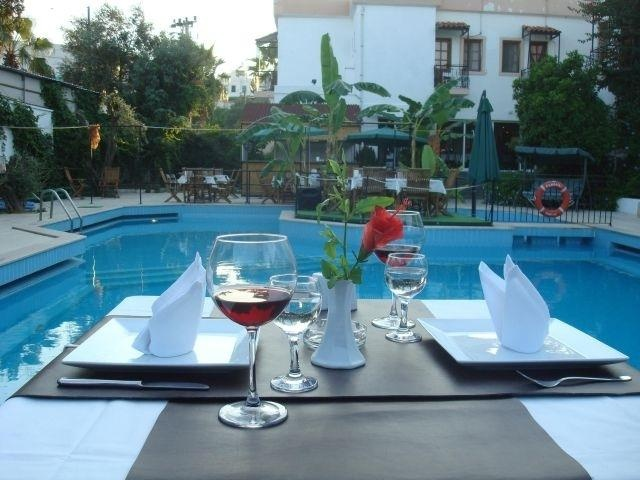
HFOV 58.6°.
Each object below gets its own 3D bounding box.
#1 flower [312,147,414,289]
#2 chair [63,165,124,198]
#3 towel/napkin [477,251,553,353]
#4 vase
[{"bbox_3d":[0.082,0.022,1.438,0.191,0.353,0.193,3,-18,8],"label":"flower"},{"bbox_3d":[-6.089,-1.569,15.320,1.192,0.872,0.703,-2,6,-5],"label":"chair"},{"bbox_3d":[0.506,0.183,1.583,0.230,0.262,0.206,-1,-1,3],"label":"towel/napkin"},{"bbox_3d":[0.052,0.228,1.466,0.132,0.191,0.122,-1,4,-44],"label":"vase"}]
